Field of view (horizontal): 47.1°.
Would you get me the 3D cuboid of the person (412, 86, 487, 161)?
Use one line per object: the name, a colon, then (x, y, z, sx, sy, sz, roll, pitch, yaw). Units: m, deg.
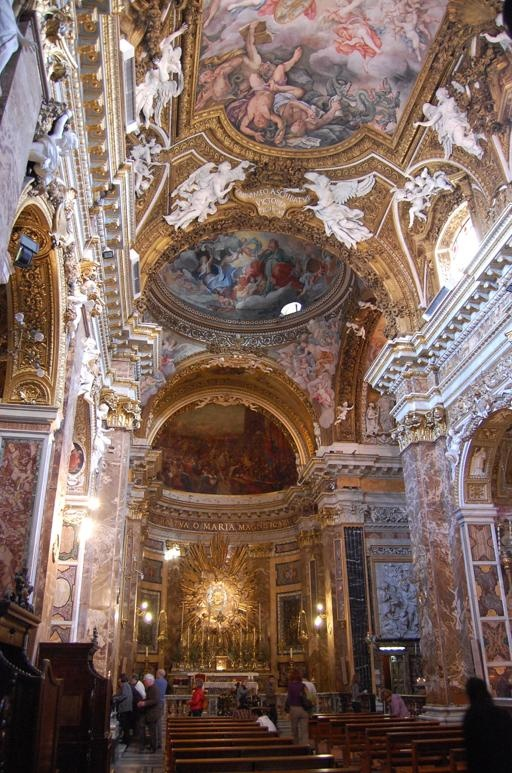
person: (3.123, -4.212, 9.516, 1.046, 1.045, 0.417, -48, -10, 34)
